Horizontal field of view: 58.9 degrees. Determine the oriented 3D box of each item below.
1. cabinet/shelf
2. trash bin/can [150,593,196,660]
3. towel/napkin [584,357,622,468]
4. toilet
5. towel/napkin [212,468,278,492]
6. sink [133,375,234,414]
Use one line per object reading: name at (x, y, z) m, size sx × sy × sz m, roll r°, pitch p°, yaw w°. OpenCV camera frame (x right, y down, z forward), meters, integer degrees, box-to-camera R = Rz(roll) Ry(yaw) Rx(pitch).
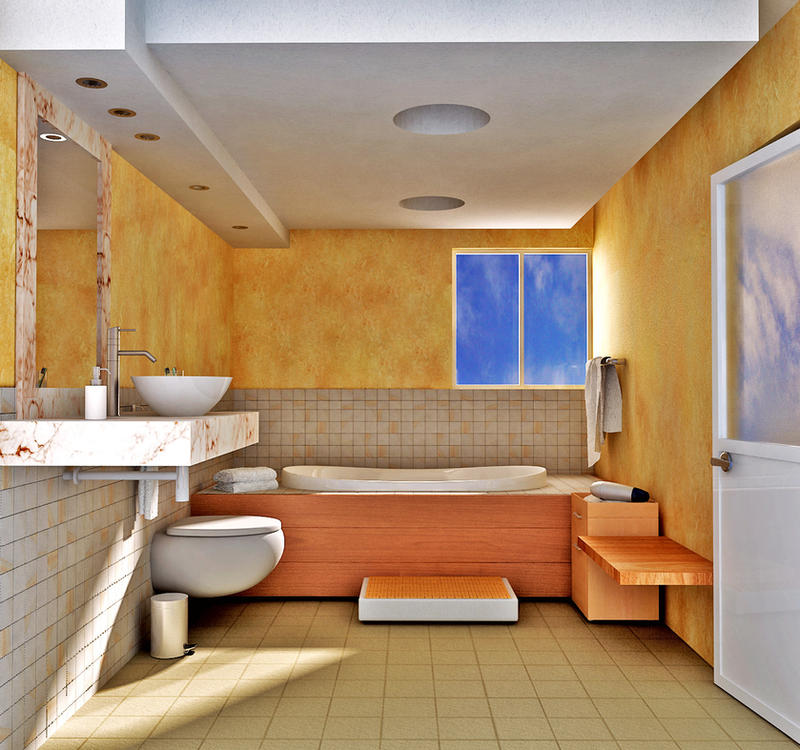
cabinet/shelf at (1.247, 1.032, 4.139) m, size 0.415 × 0.626 × 0.696 m, roll 0°, pitch -7°, yaw 7°
trash bin/can at (-1.106, 1.203, 3.423) m, size 0.246 × 0.259 × 0.182 m, roll -2°, pitch -3°, yaw -21°
towel/napkin at (1.294, 0.213, 4.488) m, size 0.226 × 0.681 × 0.284 m, roll 0°, pitch 1°, yaw 9°
toilet at (-0.957, 0.943, 3.758) m, size 0.688 × 0.307 × 0.490 m, roll -2°, pitch -1°, yaw -7°
towel/napkin at (-0.965, 0.647, 4.434) m, size 0.365 × 0.134 × 0.198 m, roll 0°, pitch 1°, yaw -22°
sink at (-0.908, 0.084, 2.947) m, size 0.379 × 0.173 × 0.252 m, roll 0°, pitch 1°, yaw -14°
